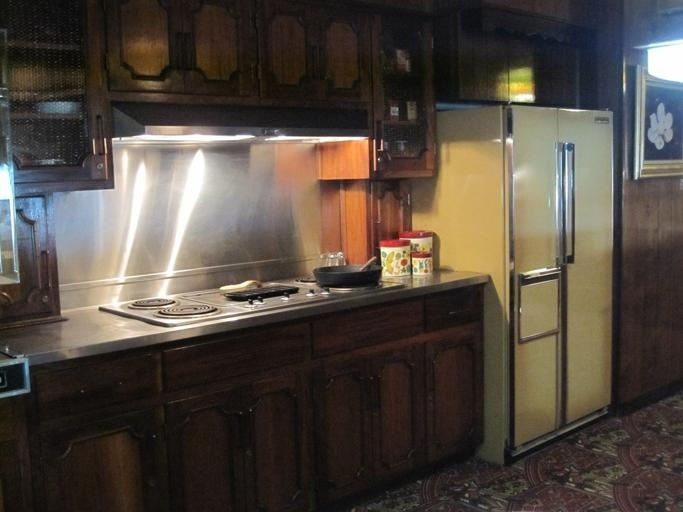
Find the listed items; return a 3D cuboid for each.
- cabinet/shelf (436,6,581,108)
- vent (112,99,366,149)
[{"bbox_3d":[1.176,-1.322,3.970,1.218,0.549,0.325,-7,10,-35],"label":"cabinet/shelf"},{"bbox_3d":[-0.433,-0.672,2.878,1.307,0.181,0.270,-7,10,-36],"label":"vent"}]
